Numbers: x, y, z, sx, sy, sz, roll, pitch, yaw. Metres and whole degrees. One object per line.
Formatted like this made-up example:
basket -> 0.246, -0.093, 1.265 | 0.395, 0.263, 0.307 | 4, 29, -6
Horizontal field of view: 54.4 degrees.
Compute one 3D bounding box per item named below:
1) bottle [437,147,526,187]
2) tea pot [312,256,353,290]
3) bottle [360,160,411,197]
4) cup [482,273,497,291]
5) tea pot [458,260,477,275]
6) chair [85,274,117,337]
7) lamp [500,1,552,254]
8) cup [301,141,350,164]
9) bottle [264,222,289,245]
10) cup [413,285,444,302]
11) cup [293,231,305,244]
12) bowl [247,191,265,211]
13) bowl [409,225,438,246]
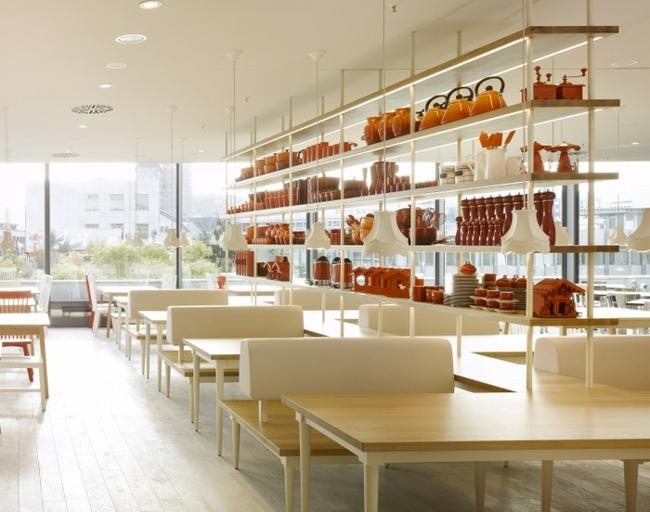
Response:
bottle -> 0.926, -0.489, 3.773 | 0.232, 0.181, 0.483 | 0, 2, -9
tea pot -> 0.061, 0.144, 5.444 | 0.140, 0.215, 0.540 | 2, -3, -13
bottle -> 0.446, -0.564, 4.613 | 0.292, 0.291, 0.224 | -1, 3, -5
cup -> 0.982, 0.158, 3.817 | 0.088, 0.115, 0.085 | 2, 2, 0
tea pot -> 0.896, 0.071, 3.988 | 0.094, 0.074, 0.085 | 3, -2, -29
chair -> -3.702, 0.774, 10.537 | 0.556, 0.897, 0.515 | -10, 20, -44
lamp -> 1.024, -0.689, 3.261 | 0.230, 1.366, 0.534 | 0, 0, 17
cup -> -0.038, -0.942, 5.723 | 0.362, 0.147, 0.235 | 1, 3, 34
bottle -> -0.493, -0.228, 6.557 | 0.199, 0.214, 0.262 | 0, -5, -7
cup -> 0.684, 0.248, 4.076 | 0.127, 0.102, 0.306 | 0, -1, -21
cup -> -0.251, -0.186, 6.242 | 0.113, 0.118, 0.212 | 3, 6, -2
bowl -> -0.774, -0.602, 7.128 | 0.198, 0.213, 0.214 | 0, -10, 0
bowl -> 0.663, -0.135, 4.229 | 0.122, 0.087, 0.117 | -1, -2, 0
